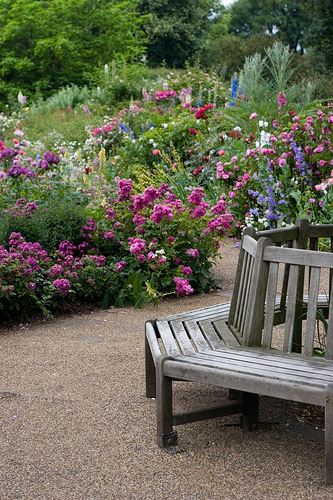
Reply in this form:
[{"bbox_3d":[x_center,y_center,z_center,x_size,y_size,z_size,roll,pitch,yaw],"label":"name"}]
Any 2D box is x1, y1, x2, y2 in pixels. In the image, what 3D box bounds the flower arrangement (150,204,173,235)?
[{"bbox_3d":[-0.038,-0.279,5.043,0.222,0.225,0.213,2,-30,1],"label":"flower arrangement"}]
